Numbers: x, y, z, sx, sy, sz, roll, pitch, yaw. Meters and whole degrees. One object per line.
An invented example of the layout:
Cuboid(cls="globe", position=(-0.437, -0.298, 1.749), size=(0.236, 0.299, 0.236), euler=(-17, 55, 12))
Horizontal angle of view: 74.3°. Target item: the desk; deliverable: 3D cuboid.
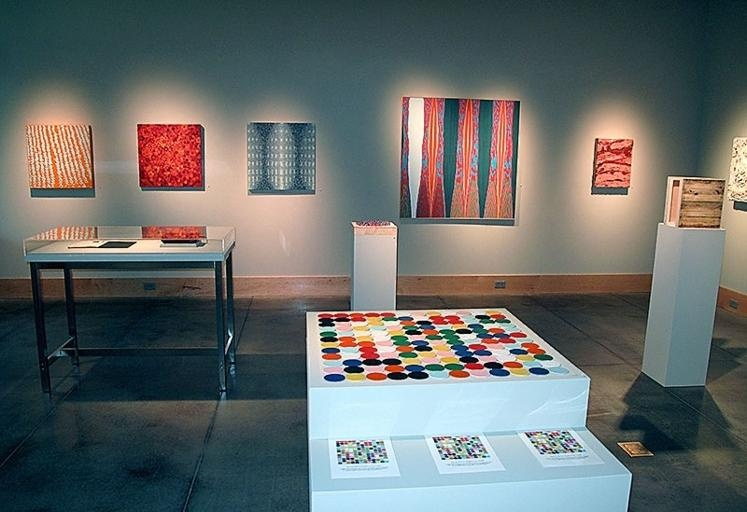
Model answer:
Cuboid(cls="desk", position=(-2.260, 0.451, 4.866), size=(1.757, 1.472, 1.221), euler=(-2, 13, -6))
